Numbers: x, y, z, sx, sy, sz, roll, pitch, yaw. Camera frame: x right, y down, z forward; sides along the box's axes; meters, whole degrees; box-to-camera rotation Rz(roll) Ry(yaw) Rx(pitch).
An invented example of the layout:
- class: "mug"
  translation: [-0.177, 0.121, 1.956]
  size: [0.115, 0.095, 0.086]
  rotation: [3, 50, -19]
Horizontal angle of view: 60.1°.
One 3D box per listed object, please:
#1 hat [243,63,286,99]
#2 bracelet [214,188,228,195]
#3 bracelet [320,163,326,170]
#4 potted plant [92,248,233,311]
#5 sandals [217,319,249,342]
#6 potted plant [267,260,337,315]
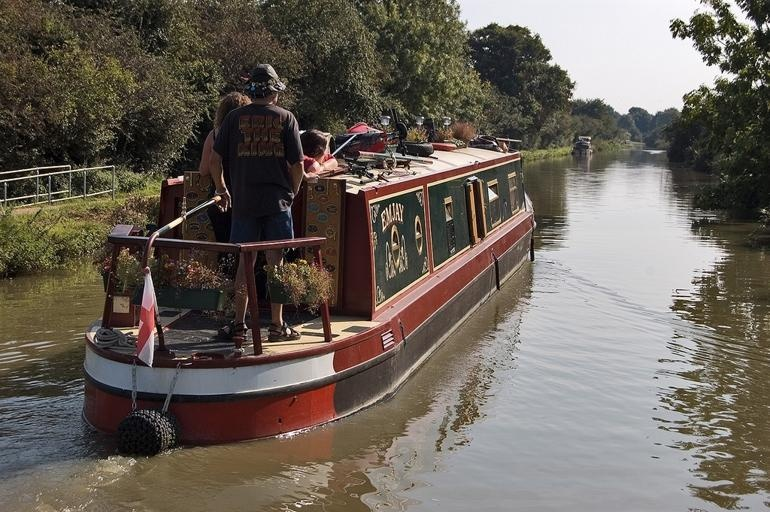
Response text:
- class: "hat"
  translation: [-1.494, -2.163, 8.333]
  size: [0.428, 0.253, 0.447]
  rotation: [1, 13, 1]
- class: "bracelet"
  translation: [-2.029, -0.788, 8.195]
  size: [0.178, 0.052, 0.184]
  rotation: [-1, 4, -36]
- class: "bracelet"
  translation: [-0.931, -1.326, 9.826]
  size: [0.080, 0.021, 0.082]
  rotation: [24, 28, 16]
- class: "potted plant"
  translation: [-2.538, 0.302, 7.897]
  size: [1.114, 0.404, 0.820]
  rotation: [5, 3, 14]
- class: "sandals"
  translation: [-1.924, 0.919, 8.276]
  size: [0.207, 0.191, 0.429]
  rotation: [1, 0, -39]
- class: "potted plant"
  translation: [-0.970, 0.312, 8.184]
  size: [0.638, 0.414, 0.661]
  rotation: [6, 7, 16]
